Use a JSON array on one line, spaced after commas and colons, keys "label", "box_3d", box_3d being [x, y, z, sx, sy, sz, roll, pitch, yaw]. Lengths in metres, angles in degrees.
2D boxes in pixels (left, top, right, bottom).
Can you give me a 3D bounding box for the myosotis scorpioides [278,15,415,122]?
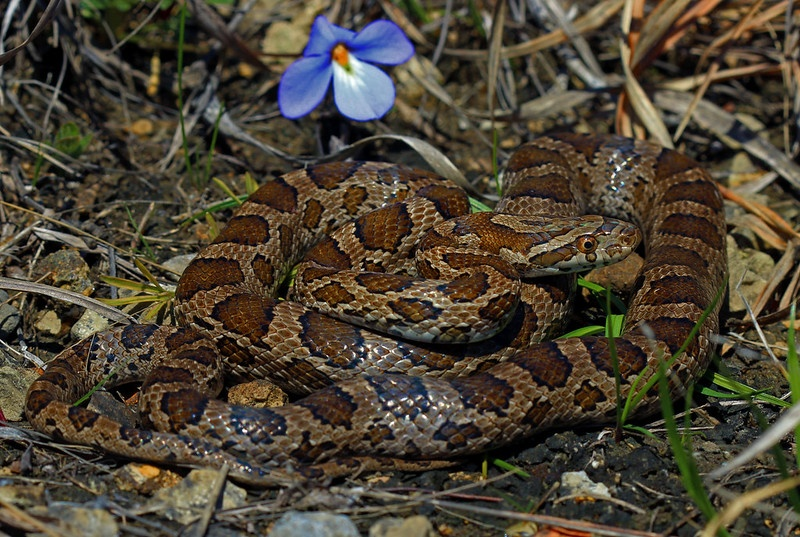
[{"label": "myosotis scorpioides", "box_3d": [-0.462, -1.742, 7.049, 1.148, 0.475, 0.820, -4, 82, 1]}]
